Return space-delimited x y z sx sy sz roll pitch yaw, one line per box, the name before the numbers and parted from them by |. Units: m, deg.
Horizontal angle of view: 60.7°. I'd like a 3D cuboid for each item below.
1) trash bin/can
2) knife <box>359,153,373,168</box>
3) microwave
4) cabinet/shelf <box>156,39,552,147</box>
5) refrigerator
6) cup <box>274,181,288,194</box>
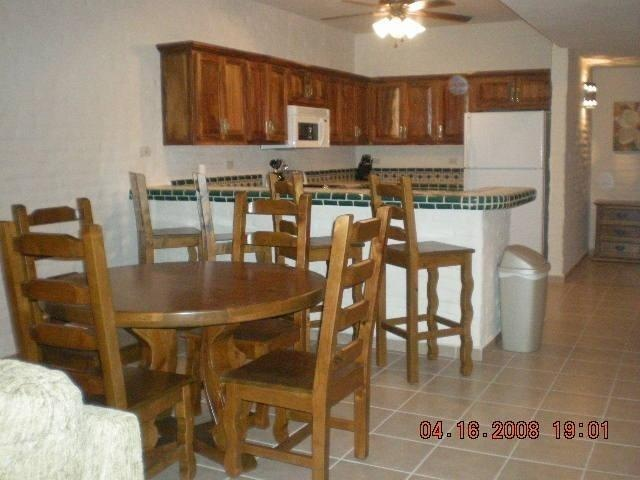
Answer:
trash bin/can | 1.446 0.426 3.904 0.345 0.749 0.284 3 10 18
knife | 0.638 -1.105 7.617 0.182 0.171 0.054 6 2 12
microwave | -0.262 -1.261 6.218 0.481 0.378 0.800 7 13 32
cabinet/shelf | 0.298 -1.548 6.305 4.370 0.948 1.808 -4 9 -24
refrigerator | 2.301 -0.770 6.720 0.984 1.938 1.130 -6 -11 30
cup | -0.258 -0.340 3.531 0.063 0.113 0.061 0 43 0
